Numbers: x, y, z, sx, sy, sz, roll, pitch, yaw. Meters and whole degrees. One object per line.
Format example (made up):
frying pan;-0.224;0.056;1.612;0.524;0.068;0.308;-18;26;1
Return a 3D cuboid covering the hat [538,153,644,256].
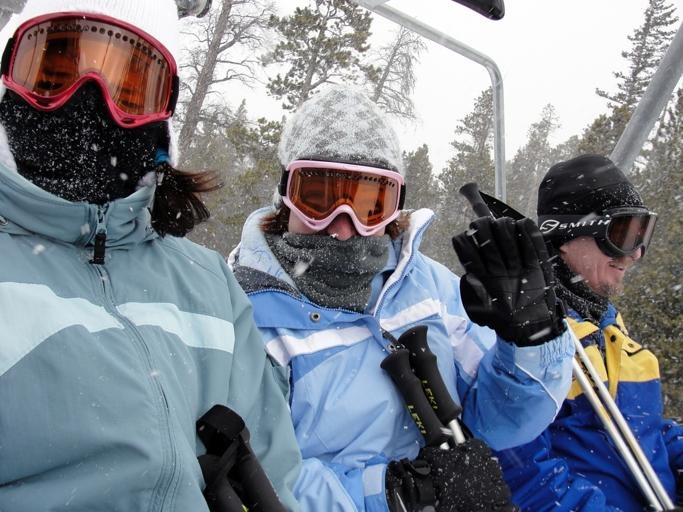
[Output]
hat;1.553;-0.336;4.299;0.514;0.677;0.685;-6;5;-32
